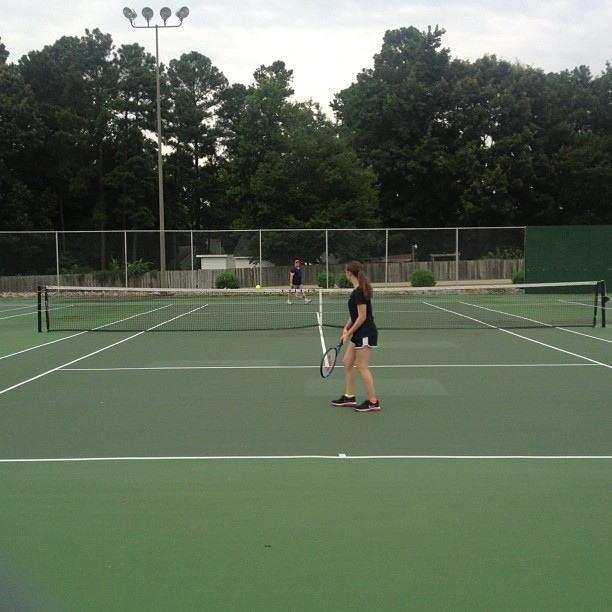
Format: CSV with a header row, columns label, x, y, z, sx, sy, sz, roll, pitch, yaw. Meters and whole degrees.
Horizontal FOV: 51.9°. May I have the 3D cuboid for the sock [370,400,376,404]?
label,x,y,z,sx,sy,sz,roll,pitch,yaw
sock,0.780,1.091,7.210,0.084,0.037,0.034,-4,5,-37
